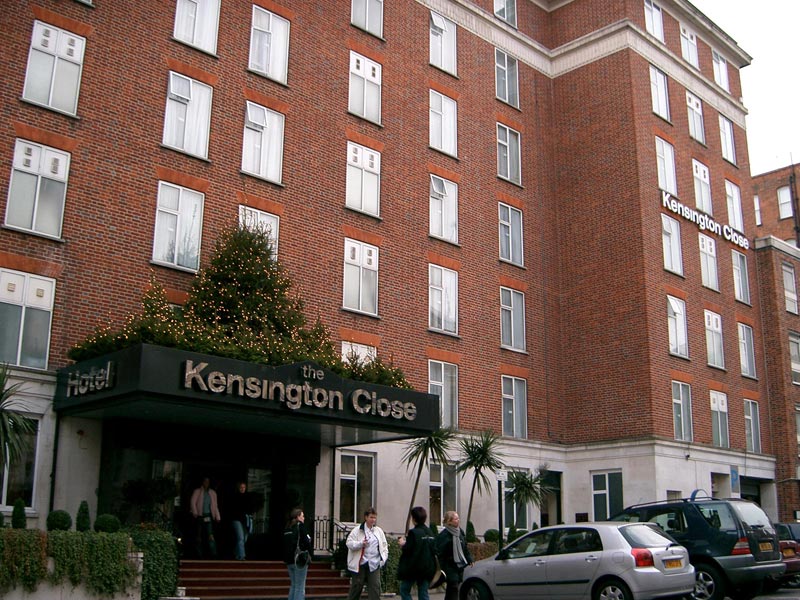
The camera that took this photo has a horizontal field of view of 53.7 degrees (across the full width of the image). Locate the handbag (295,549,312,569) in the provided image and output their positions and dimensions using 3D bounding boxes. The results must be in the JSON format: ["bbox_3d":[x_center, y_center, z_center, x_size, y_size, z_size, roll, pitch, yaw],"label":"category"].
[{"bbox_3d":[-2.124,5.609,17.180,0.299,0.325,0.328,-11,-37,-4],"label":"handbag"}]

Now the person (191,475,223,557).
[{"bbox_3d":[-5.544,6.090,22.333,0.786,2.032,1.206,5,-19,-12],"label":"person"}]
